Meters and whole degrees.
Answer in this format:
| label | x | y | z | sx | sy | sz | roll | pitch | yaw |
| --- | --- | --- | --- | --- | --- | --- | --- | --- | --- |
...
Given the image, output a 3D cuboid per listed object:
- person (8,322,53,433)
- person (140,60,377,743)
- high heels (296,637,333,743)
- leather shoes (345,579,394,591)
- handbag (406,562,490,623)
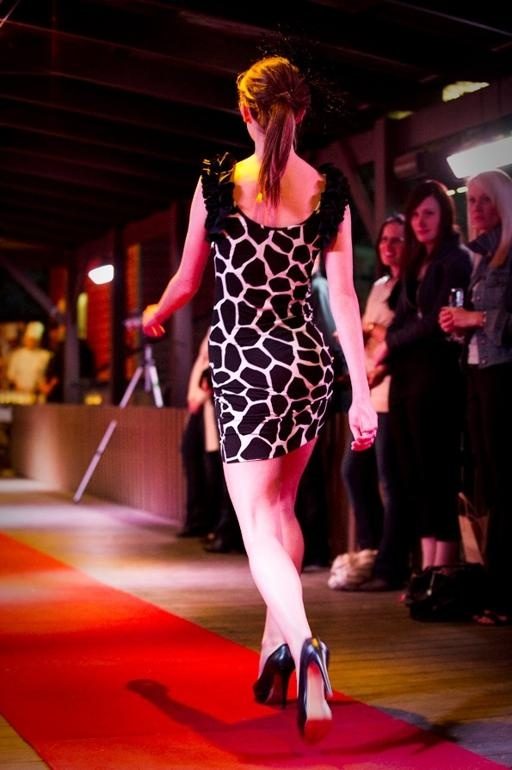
| label | x | y | z | sx | sy | sz | roll | pitch | yaw |
| --- | --- | --- | --- | --- | --- | --- | --- | --- | --- |
| person | -3.801 | -0.389 | 13.607 | 0.684 | 1.385 | 1.187 | 2 | -3 | -21 |
| person | 0.063 | -0.049 | 1.776 | 0.370 | 1.406 | 0.580 | 3 | -4 | -32 |
| high heels | 0.115 | 0.561 | 1.505 | 0.067 | 0.169 | 0.072 | -5 | 6 | -39 |
| leather shoes | 0.553 | 0.977 | 3.937 | 0.160 | 0.051 | 0.089 | -6 | -10 | 2 |
| handbag | 0.776 | 0.842 | 3.293 | 0.303 | 0.099 | 0.207 | -18 | 15 | -30 |
